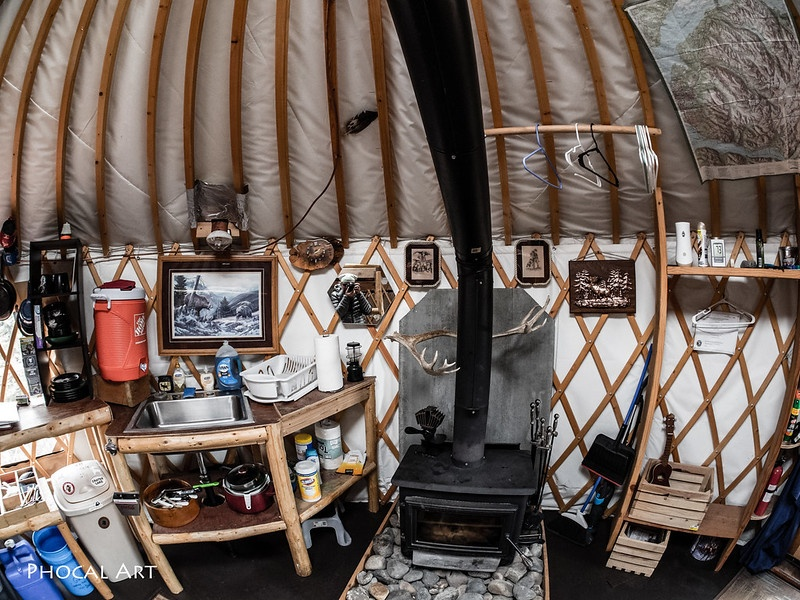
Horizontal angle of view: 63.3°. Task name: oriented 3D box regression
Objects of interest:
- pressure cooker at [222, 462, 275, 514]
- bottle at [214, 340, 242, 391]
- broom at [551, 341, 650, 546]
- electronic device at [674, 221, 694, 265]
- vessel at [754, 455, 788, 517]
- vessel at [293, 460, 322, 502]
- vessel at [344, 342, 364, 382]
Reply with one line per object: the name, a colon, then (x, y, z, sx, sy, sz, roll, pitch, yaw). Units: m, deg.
pressure cooker: (-1.045, 1.306, 4.625, 0.305, 0.291, 0.329, 7, 3, 5)
bottle: (-1.280, 0.500, 4.921, 0.189, 0.380, 0.128, -2, 14, -9)
broom: (1.578, 1.104, 4.873, 0.459, 1.531, 0.366, 23, 7, 33)
electronic device: (1.971, -0.382, 4.471, 0.188, 0.299, 0.101, -14, 19, -28)
vessel: (2.584, 1.335, 4.531, 0.080, 0.438, 0.128, 9, 11, -37)
vessel: (-0.637, 1.301, 4.648, 0.144, 0.255, 0.151, -9, 12, -9)
vessel: (-0.339, 0.497, 5.014, 0.133, 0.299, 0.140, 0, 3, -4)
